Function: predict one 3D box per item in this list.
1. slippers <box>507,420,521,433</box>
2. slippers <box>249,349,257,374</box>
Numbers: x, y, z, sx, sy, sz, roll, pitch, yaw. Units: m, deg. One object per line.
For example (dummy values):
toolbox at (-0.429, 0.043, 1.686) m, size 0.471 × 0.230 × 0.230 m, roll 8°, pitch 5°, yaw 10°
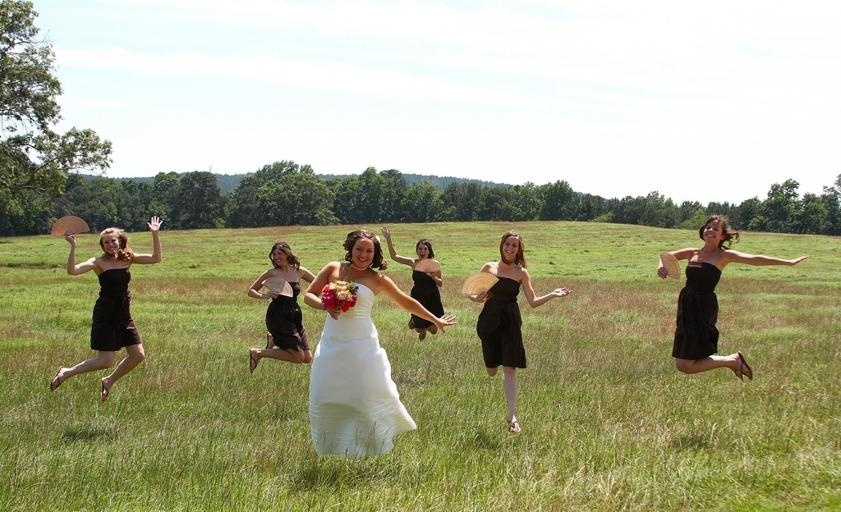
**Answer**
slippers at (2.188, 3.896, 16.808) m, size 0.290 × 0.195 × 0.343 m, roll 2°, pitch 13°, yaw 4°
slippers at (-4.493, 2.748, 19.386) m, size 0.169 × 0.693 × 0.305 m, roll 7°, pitch 9°, yaw 25°
